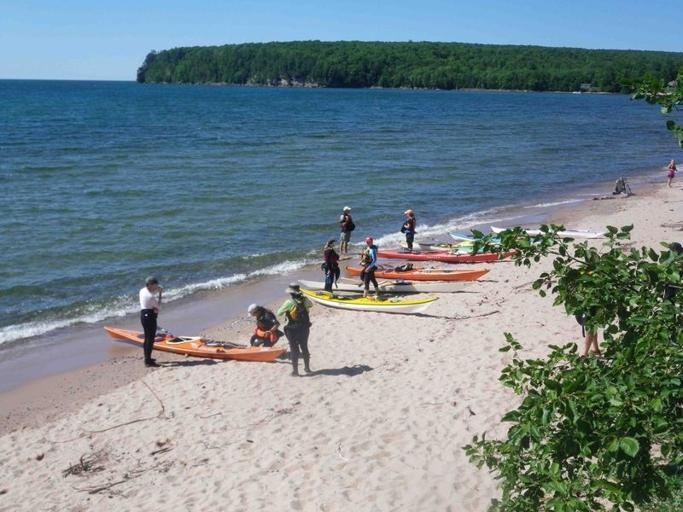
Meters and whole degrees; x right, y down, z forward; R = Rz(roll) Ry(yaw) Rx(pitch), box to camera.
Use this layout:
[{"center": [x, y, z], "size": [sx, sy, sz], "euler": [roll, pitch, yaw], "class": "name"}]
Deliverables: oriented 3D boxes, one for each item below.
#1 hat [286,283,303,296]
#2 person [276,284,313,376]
[{"center": [-0.894, 0.619, 12.367], "size": [0.309, 0.104, 0.303], "euler": [3, -4, 3], "class": "hat"}, {"center": [-0.907, 1.406, 12.553], "size": [0.701, 1.636, 0.710], "euler": [-3, 2, -36], "class": "person"}]
